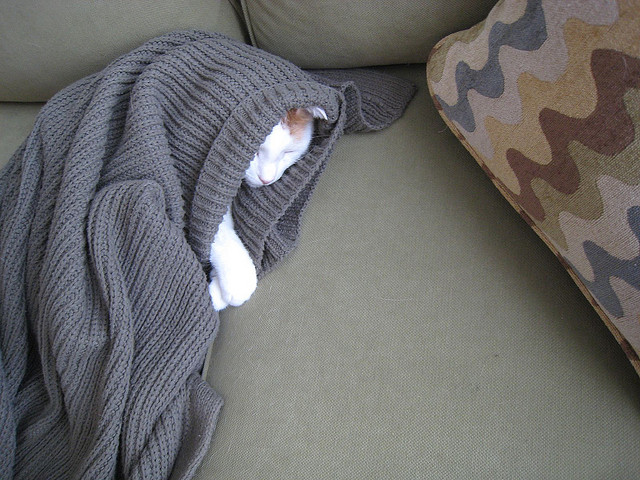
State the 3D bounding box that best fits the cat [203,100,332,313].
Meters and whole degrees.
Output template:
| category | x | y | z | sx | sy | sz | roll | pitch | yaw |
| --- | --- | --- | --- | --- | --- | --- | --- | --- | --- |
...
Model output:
| category | x | y | z | sx | sy | sz | roll | pitch | yaw |
| --- | --- | --- | --- | --- | --- | --- | --- | --- | --- |
| cat | -0.117 | -0.103 | 1.317 | 0.182 | 0.498 | 0.205 | 34 | -19 | -27 |
